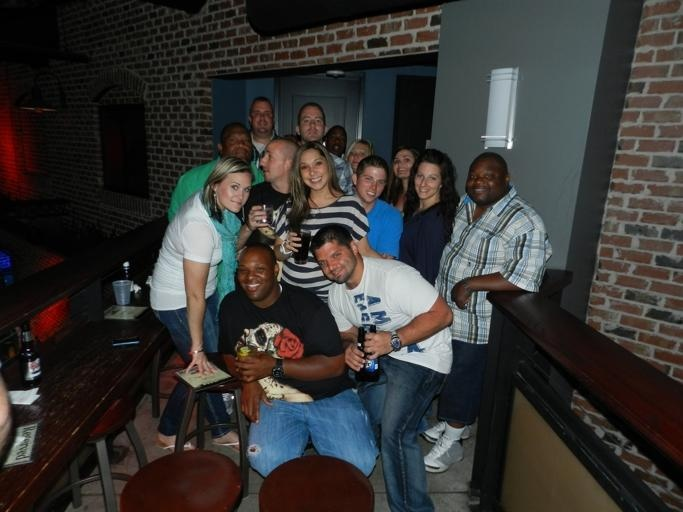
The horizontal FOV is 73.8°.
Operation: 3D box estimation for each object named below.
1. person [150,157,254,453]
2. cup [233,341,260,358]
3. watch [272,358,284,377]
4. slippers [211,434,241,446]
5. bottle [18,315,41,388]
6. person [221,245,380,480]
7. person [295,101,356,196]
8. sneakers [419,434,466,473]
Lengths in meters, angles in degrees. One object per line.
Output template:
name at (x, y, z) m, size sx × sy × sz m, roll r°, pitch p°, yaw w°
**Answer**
person at (-0.918, 0.368, 3.154) m, size 0.793 × 1.979 × 0.772 m, roll 13°, pitch 14°, yaw 43°
cup at (-0.565, 0.544, 2.695) m, size 0.109 × 0.101 × 0.064 m, roll 5°, pitch 37°, yaw -11°
watch at (-0.357, 0.652, 2.687) m, size 0.071 × 0.102 × 0.090 m, roll 7°, pitch 46°, yaw -8°
slippers at (-0.843, 1.348, 3.328) m, size 0.199 × 0.077 × 0.096 m, roll 0°, pitch 3°, yaw 9°
bottle at (-1.720, 0.516, 2.487) m, size 0.098 × 0.341 × 0.247 m, roll -9°, pitch 20°, yaw -35°
person at (-0.271, 0.683, 2.693) m, size 0.921 × 1.425 × 0.669 m, roll 0°, pitch 17°, yaw -9°
person at (-0.240, -0.828, 4.731) m, size 0.565 × 1.452 × 0.426 m, roll -7°, pitch 13°, yaw -15°
sneakers at (0.723, 1.372, 3.207) m, size 0.336 × 0.203 × 0.151 m, roll -8°, pitch 8°, yaw -21°
